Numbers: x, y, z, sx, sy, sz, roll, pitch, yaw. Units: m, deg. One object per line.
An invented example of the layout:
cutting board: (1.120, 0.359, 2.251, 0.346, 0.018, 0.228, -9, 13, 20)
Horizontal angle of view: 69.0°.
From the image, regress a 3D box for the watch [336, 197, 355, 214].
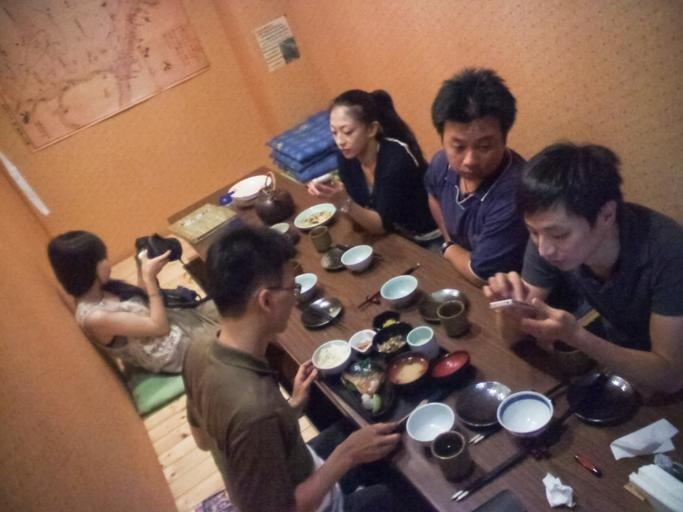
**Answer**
watch: (0.045, -0.352, 3.472, 0.109, 0.073, 0.115, -57, -1, -41)

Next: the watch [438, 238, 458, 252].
watch: (0.669, -0.057, 3.184, 0.075, 0.033, 0.085, -40, 7, -40)

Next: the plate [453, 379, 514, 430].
plate: (0.629, 0.675, 2.222, 0.280, 0.075, 0.291, -12, 17, 23)

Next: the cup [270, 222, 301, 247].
cup: (-0.423, -0.187, 3.915, 0.224, 0.109, 0.256, -22, 33, 5)

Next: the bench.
bench: (-1.421, 0.528, 4.099, 1.058, 1.962, 0.689, -39, 45, -22)

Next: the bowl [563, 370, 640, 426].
bowl: (1.110, 0.601, 2.096, 0.278, 0.123, 0.191, -14, 26, 17)

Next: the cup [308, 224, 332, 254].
cup: (-0.140, -0.155, 3.606, 0.165, 0.183, 0.188, -15, 34, 8)

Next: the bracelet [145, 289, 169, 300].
bracelet: (-1.381, 0.290, 3.721, 0.092, 0.069, 0.092, -4, 11, -9)

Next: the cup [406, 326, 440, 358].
cup: (0.423, 0.428, 2.542, 0.146, 0.113, 0.146, -17, 30, 10)

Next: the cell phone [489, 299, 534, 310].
cell phone: (0.754, 0.214, 2.179, 0.105, 0.180, 0.019, -23, 61, 53)

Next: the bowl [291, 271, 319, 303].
bowl: (-0.230, 0.183, 3.173, 0.165, 0.097, 0.167, -22, 35, 16)

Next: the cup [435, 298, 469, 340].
cup: (0.600, 0.327, 2.668, 0.164, 0.168, 0.185, -10, 39, 22)

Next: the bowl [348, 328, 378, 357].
bowl: (0.122, 0.470, 2.711, 0.130, 0.051, 0.103, -42, 43, -13)

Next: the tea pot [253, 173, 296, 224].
tea pot: (-0.542, -0.412, 4.273, 0.376, 0.419, 0.409, -6, 36, 4)

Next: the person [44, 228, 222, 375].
person: (-1.501, 0.357, 3.576, 0.638, 1.158, 0.452, -45, 52, -6)

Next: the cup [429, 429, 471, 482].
cup: (0.454, 0.832, 2.131, 0.181, 0.189, 0.187, -16, 35, 12)
